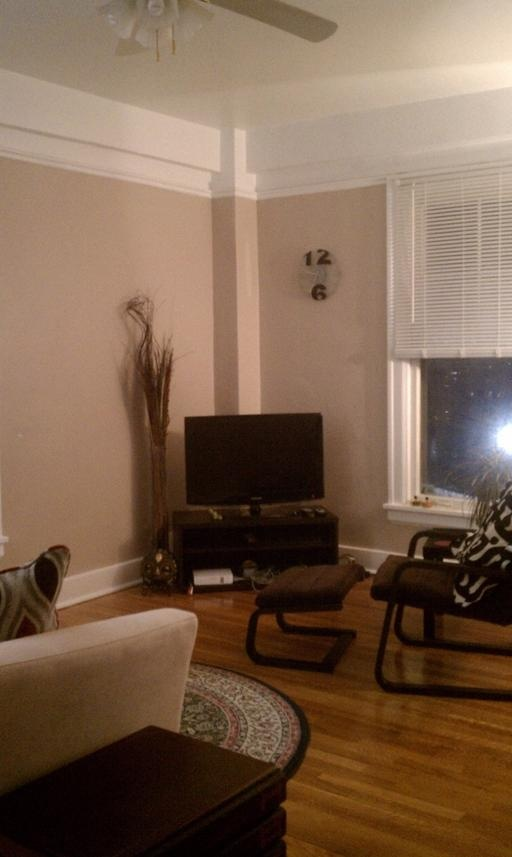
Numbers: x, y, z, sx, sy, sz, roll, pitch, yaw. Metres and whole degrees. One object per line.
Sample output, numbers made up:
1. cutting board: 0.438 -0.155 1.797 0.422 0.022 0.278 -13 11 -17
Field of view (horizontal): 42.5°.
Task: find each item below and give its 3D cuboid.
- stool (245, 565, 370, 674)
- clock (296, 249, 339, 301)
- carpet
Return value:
1. stool: 0.240 0.880 3.164 0.508 0.406 0.624 0 1 13
2. clock: 0.446 -1.090 4.639 0.352 0.435 0.045 3 8 35
3. carpet: -0.045 1.099 2.498 0.485 0.036 0.502 -1 9 -30
